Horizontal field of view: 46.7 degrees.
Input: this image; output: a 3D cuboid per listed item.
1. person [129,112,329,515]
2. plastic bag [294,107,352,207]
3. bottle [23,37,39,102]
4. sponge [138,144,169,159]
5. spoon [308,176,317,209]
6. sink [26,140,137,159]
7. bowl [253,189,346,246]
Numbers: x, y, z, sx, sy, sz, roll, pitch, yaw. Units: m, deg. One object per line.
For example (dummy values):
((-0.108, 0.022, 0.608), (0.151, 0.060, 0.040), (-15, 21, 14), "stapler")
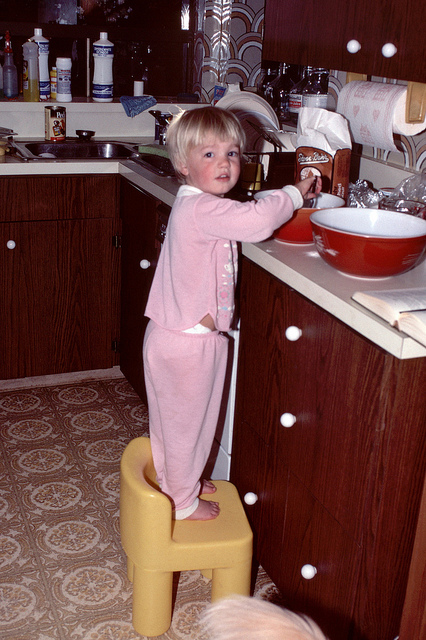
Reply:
((0.036, 0.002, 1.137), (0.386, 0.873, 0.356), (12, 20, 33), "person")
((0.272, -0.385, 1.227), (0.101, 0.257, 0.158), (-12, 28, -27), "plastic bag")
((-0.832, -1.138, 2.248), (0.071, 0.264, 0.079), (-4, 19, -24), "bottle")
((-0.257, -0.713, 2.072), (0.115, 0.048, 0.259), (1, 19, -10), "sponge")
((0.228, -0.291, 1.138), (0.014, 0.061, 0.010), (4, 12, -11), "spoon")
((-0.607, -0.779, 2.237), (0.441, 0.089, 0.217), (-1, 19, -17), "sink")
((0.201, -0.205, 1.117), (0.152, 0.073, 0.159), (-1, 23, 1), "bowl")
